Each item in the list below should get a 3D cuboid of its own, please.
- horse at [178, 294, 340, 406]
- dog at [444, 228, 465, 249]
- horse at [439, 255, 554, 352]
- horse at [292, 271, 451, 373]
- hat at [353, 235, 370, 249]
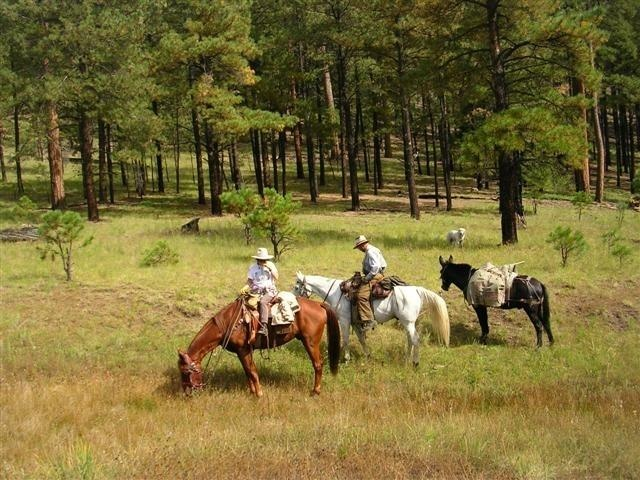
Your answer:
[{"bbox_3d":[-2.630,5.018,43.747,7.356,5.867,2.146,-6,14,-14],"label":"horse"},{"bbox_3d":[7.866,-0.161,55.348,0.936,1.045,1.788,-1,6,1],"label":"dog"},{"bbox_3d":[8.465,2.955,46.243,5.374,4.677,1.745,2,12,21],"label":"horse"},{"bbox_3d":[2.301,3.703,45.162,7.193,4.942,1.974,-2,6,5],"label":"horse"},{"bbox_3d":[1.869,0.130,44.948,0.605,0.348,0.605,-38,-6,11],"label":"hat"}]
